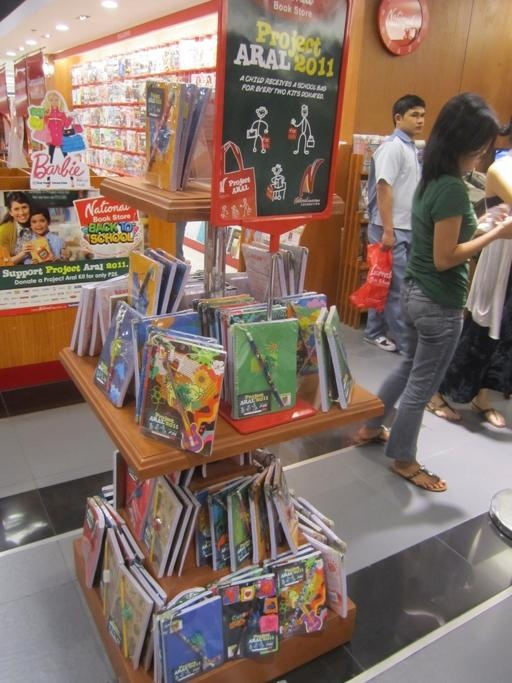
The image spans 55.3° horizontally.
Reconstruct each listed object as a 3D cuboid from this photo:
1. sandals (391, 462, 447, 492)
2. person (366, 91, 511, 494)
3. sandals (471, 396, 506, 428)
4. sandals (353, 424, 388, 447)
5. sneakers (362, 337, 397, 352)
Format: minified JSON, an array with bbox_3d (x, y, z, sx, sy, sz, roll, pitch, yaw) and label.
[{"bbox_3d":[0.816,0.669,2.462,0.238,0.104,0.102,13,20,38],"label":"sandals"},{"bbox_3d":[0.806,-0.115,2.151,0.395,1.729,0.632,5,13,9],"label":"person"},{"bbox_3d":[1.500,0.409,3.151,0.094,0.122,0.298,-12,28,-12],"label":"sandals"},{"bbox_3d":[0.653,0.534,2.764,0.188,0.086,0.094,-11,20,-14],"label":"sandals"},{"bbox_3d":[1.099,-0.006,4.239,0.082,0.086,0.223,-18,30,-32],"label":"sneakers"}]
